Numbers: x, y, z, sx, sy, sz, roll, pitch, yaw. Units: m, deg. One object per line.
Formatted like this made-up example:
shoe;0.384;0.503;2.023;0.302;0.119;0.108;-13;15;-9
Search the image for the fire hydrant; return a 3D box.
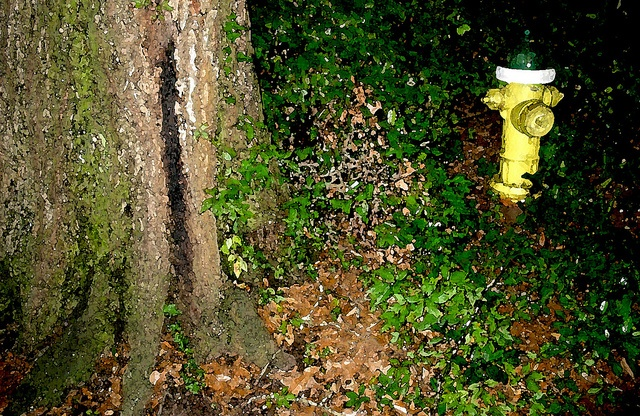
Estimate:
fire hydrant;1.517;-0.644;4.682;0.549;1.207;0.491;-10;25;-17
